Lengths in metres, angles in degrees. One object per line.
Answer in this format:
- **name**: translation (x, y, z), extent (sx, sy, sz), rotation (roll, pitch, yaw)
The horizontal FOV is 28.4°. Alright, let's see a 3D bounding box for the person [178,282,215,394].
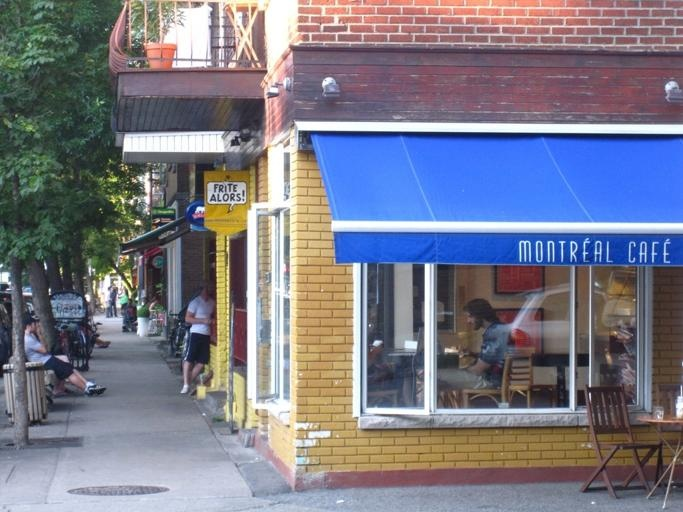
- **person**: translation (-2.737, 1.539, 25.720), extent (0.722, 2.111, 0.947), rotation (-3, 3, -6)

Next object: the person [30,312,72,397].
- **person**: translation (-5.305, 1.769, 24.204), extent (0.827, 1.434, 0.531), rotation (-19, 18, -35)

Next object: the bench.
- **bench**: translation (-5.270, 1.857, 24.587), extent (2.003, 1.489, 0.796), rotation (1, -2, -18)

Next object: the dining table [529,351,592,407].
- **dining table**: translation (2.804, 1.669, 18.267), extent (1.153, 1.062, 0.631), rotation (1, -8, -2)

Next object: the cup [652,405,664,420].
- **cup**: translation (4.026, 1.989, 17.251), extent (0.138, 0.148, 0.135), rotation (0, -9, 0)

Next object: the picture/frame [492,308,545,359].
- **picture/frame**: translation (2.353, 1.010, 18.004), extent (0.506, 0.613, 0.572), rotation (0, 3, -11)

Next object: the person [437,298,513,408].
- **person**: translation (1.751, 1.247, 18.094), extent (0.827, 1.382, 0.904), rotation (1, 4, -3)

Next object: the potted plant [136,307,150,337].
- **potted plant**: translation (-6.934, 2.261, 47.384), extent (0.412, 0.901, 1.294), rotation (-3, 3, -7)

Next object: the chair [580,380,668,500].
- **chair**: translation (3.570, 2.340, 17.374), extent (0.829, 1.338, 0.921), rotation (4, -4, -39)
